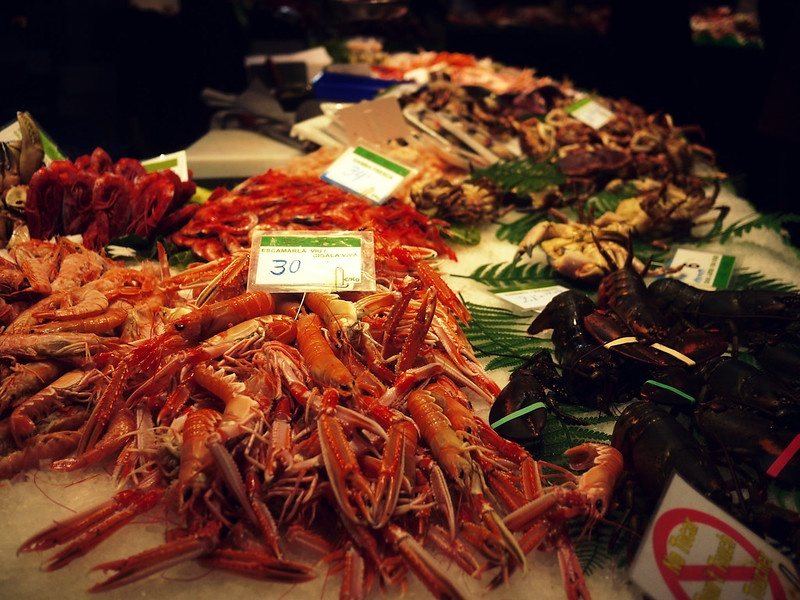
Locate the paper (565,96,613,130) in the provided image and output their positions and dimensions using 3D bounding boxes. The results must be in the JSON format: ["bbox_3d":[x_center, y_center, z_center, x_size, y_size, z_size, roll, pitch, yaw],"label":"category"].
[{"bbox_3d":[1.013,-1.006,3.530,0.210,0.059,0.206,-35,57,-29],"label":"paper"}]
